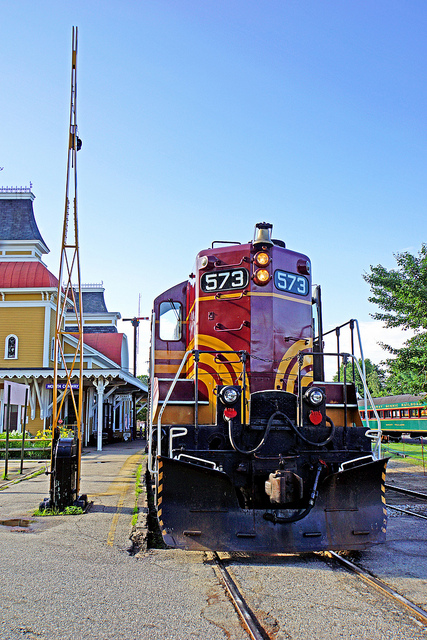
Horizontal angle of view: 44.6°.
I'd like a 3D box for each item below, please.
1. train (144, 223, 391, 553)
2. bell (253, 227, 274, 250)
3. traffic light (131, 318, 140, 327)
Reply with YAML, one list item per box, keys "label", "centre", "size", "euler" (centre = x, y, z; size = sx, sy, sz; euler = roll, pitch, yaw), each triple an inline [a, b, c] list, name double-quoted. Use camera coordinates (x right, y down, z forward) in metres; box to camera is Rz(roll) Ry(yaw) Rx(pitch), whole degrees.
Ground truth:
- label: "train"
  centre: [0.522, 0.490, 6.953]
  size: [2.652, 4.285, 2.967]
  euler: [2, -10, -8]
- label: "bell"
  centre: [0.746, -1.201, 7.897]
  size: [0.284, 0.316, 0.294]
  euler: [3, -15, -7]
- label: "traffic light"
  centre: [-7.434, 0.169, 49.952]
  size: [0.809, 0.817, 1.439]
  euler: [-6, 1, -3]
